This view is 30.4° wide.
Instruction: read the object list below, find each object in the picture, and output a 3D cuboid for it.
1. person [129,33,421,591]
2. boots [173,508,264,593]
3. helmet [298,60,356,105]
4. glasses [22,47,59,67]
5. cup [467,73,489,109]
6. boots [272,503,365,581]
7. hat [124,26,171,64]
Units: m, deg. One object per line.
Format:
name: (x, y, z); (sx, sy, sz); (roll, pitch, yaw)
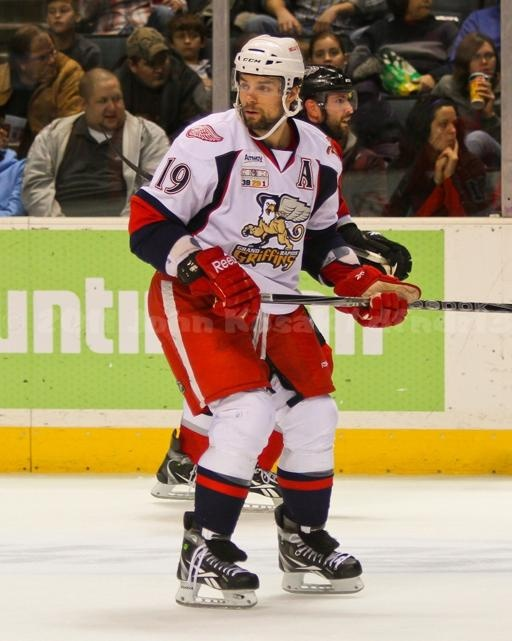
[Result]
person: (0.056, -0.023, 2.459); (0.622, 1.427, 0.534); (-2, 7, -41)
boots: (-0.089, 0.567, 2.320); (0.102, 0.155, 0.280); (0, 0, -38)
helmet: (0.252, -0.877, 3.437); (0.235, 0.103, 0.143); (4, 11, 8)
glasses: (-0.938, -1.148, 4.107); (0.114, 0.078, 0.081); (16, 11, 22)
cup: (0.950, -0.992, 4.055); (0.081, 0.157, 0.056); (5, 6, 22)
boots: (0.170, 0.590, 2.470); (0.115, 0.168, 0.304); (-3, -3, -36)
hat: (-0.479, -1.224, 4.154); (0.152, 0.091, 0.189); (-11, 11, -30)
